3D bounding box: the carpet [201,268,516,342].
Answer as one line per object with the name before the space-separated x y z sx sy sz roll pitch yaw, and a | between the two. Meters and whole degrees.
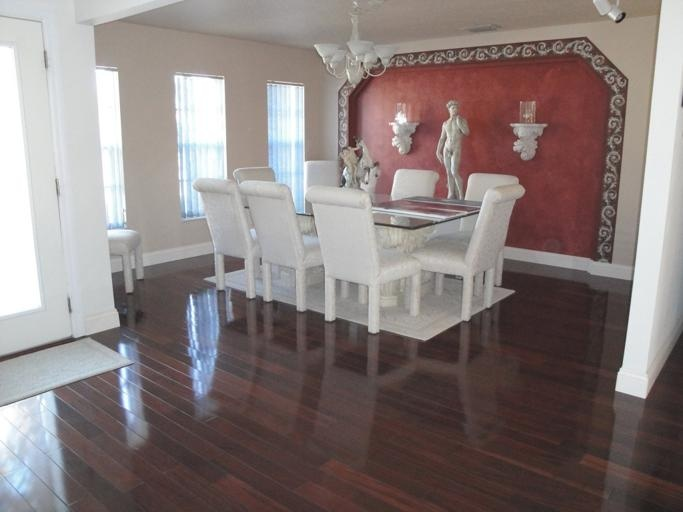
carpet | 0.349 0.367 5.443 2.353 0.212 1.619 9 22 35
